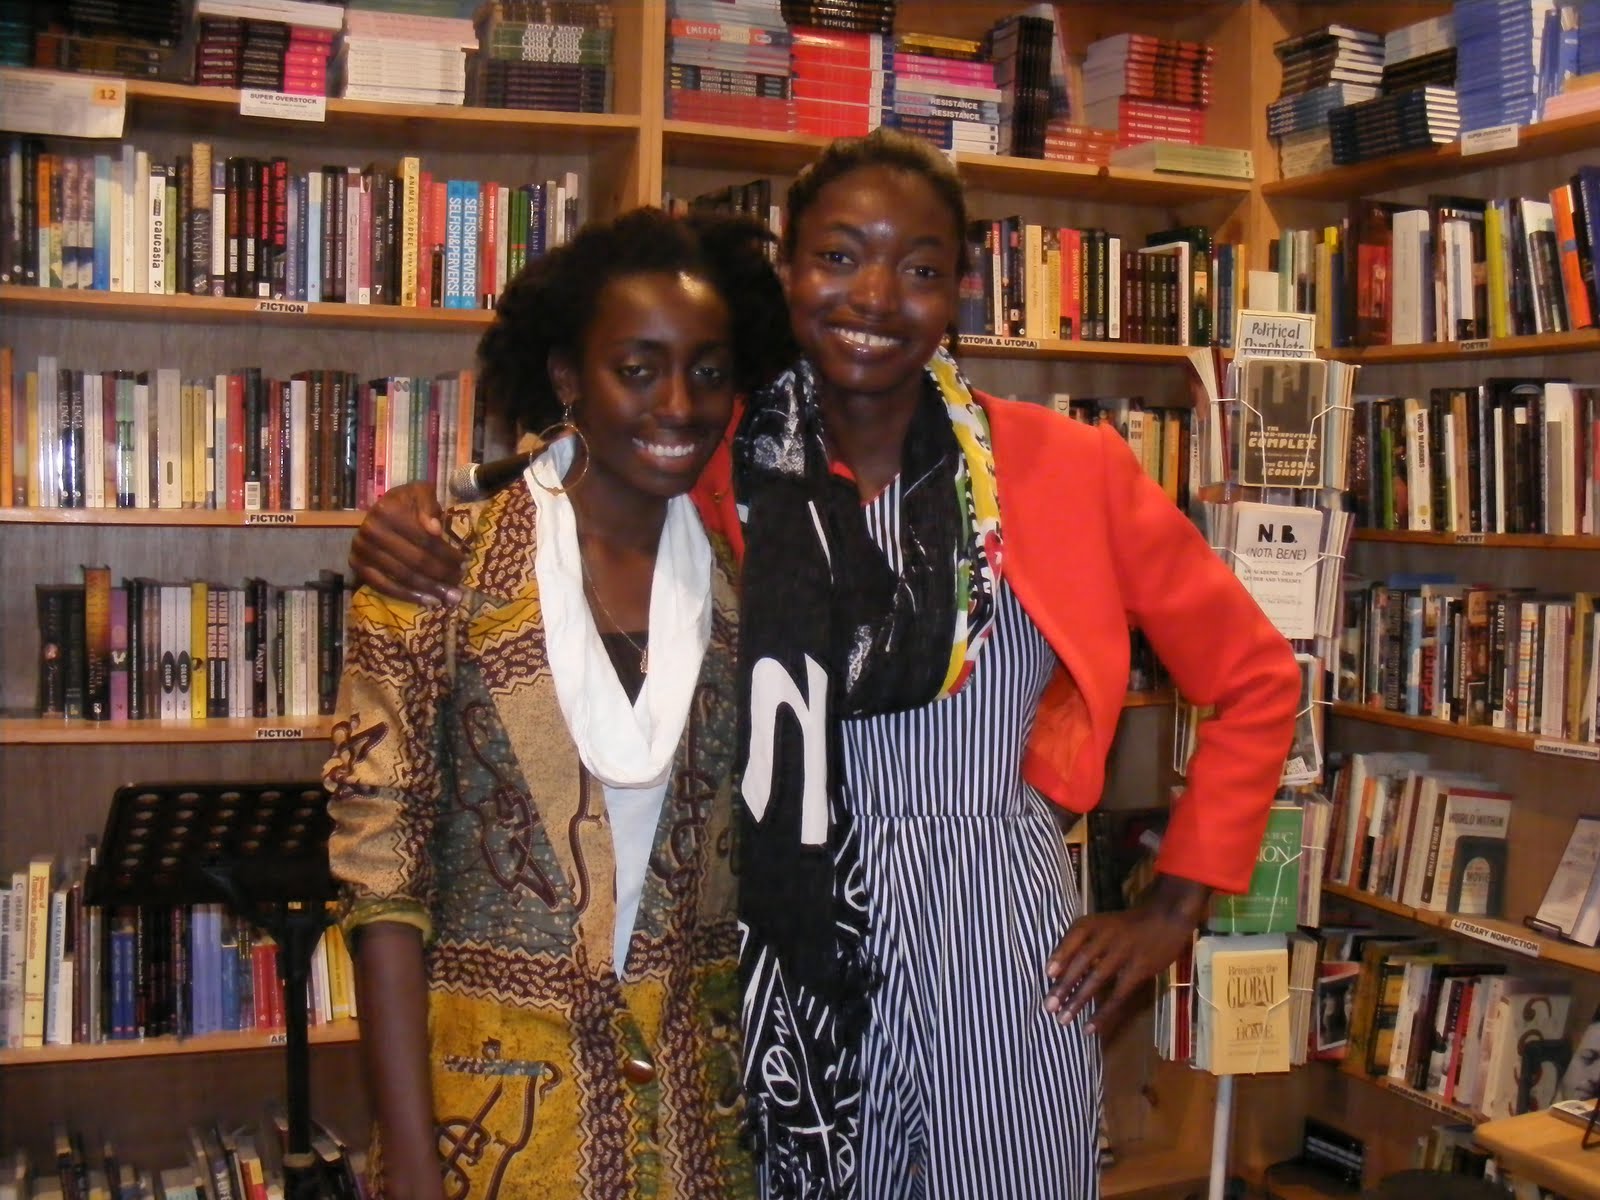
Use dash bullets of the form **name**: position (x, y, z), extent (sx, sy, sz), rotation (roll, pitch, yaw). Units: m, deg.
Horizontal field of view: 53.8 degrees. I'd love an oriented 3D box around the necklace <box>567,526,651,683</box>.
- **necklace**: position (-0.270, 0.024, 2.391), extent (0.076, 0.286, 0.006), rotation (7, -20, -16)
